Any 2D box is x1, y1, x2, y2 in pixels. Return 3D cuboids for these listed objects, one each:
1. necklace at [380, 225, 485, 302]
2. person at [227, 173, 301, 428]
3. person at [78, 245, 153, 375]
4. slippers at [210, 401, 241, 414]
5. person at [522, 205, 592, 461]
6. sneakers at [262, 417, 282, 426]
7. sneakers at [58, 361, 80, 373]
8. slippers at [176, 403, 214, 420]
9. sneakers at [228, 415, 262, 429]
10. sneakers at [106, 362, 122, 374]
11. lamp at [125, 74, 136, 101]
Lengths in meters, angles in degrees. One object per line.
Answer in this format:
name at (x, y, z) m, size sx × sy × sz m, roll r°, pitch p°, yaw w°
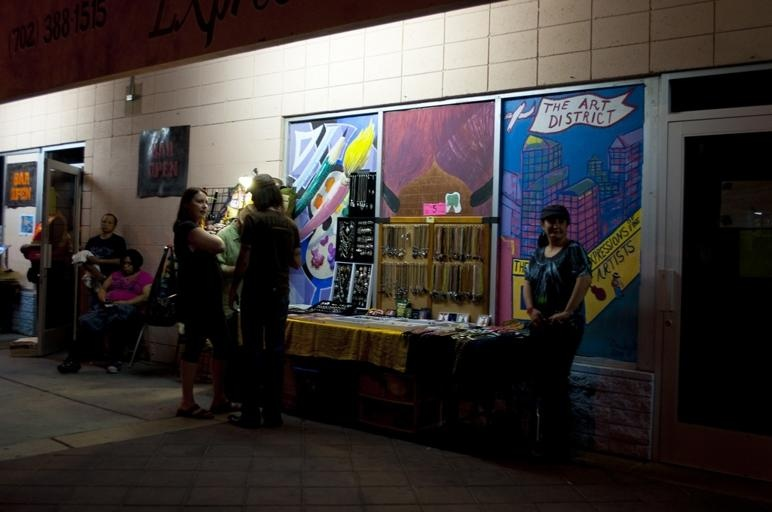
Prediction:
necklace at (0.588, 0.081, 6.830) m, size 0.887 × 0.685 × 0.080 m, roll 4°, pitch 1°, yaw 29°
person at (-1.257, 0.681, 6.121) m, size 0.687 × 2.282 × 0.399 m, roll 0°, pitch 6°, yaw -14°
person at (-4.034, 0.779, 8.841) m, size 0.822 × 1.619 × 1.141 m, roll 3°, pitch 7°, yaw 10°
slippers at (-1.828, 1.710, 6.710) m, size 0.372 × 0.133 × 0.133 m, roll -1°, pitch 3°, yaw -21°
person at (1.607, 0.713, 5.804) m, size 0.448 × 2.376 × 0.589 m, roll -4°, pitch 9°, yaw -42°
sneakers at (-1.207, 1.758, 6.259) m, size 0.123 × 0.075 × 0.124 m, roll 0°, pitch -3°, yaw 37°
sneakers at (-4.465, 1.567, 8.359) m, size 0.308 × 0.130 × 0.130 m, roll -4°, pitch 13°, yaw -24°
slippers at (-2.105, 1.711, 6.521) m, size 0.403 × 0.131 × 0.156 m, roll -1°, pitch -2°, yaw 10°
sneakers at (-1.489, 1.744, 6.290) m, size 0.404 × 0.162 × 0.136 m, roll 0°, pitch 0°, yaw 26°
sneakers at (-3.928, 1.616, 8.501) m, size 0.122 × 0.150 × 0.220 m, roll 7°, pitch -2°, yaw -5°
lamp at (-4.146, -2.706, 9.612) m, size 0.112 × 0.410 × 0.296 m, roll -4°, pitch 9°, yaw -45°
